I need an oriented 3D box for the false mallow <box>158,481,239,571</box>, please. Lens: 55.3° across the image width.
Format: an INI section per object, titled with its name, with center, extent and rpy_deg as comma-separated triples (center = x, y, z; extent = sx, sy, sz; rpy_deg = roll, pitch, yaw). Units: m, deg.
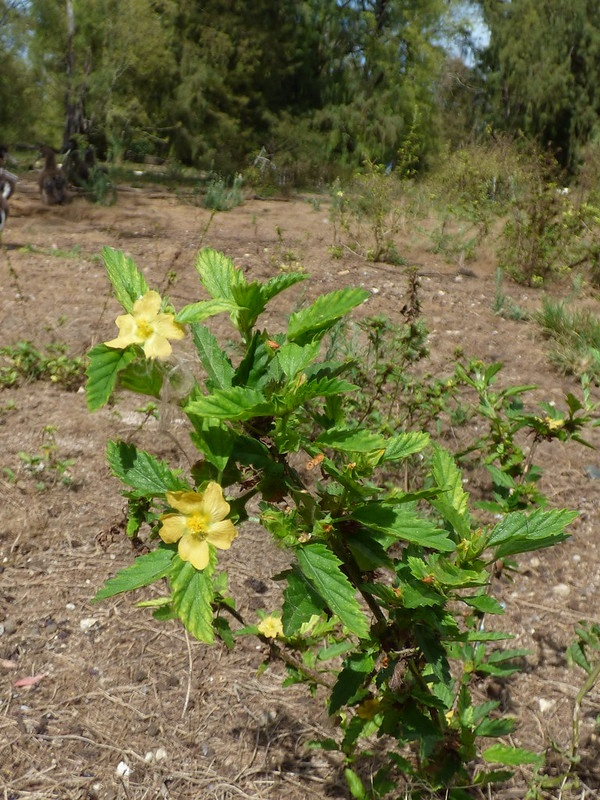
[false mallow]
center = -0.135, 0.160, 0.818
extent = 0.107, 0.123, 0.163
rpy_deg = 8, 13, 5
